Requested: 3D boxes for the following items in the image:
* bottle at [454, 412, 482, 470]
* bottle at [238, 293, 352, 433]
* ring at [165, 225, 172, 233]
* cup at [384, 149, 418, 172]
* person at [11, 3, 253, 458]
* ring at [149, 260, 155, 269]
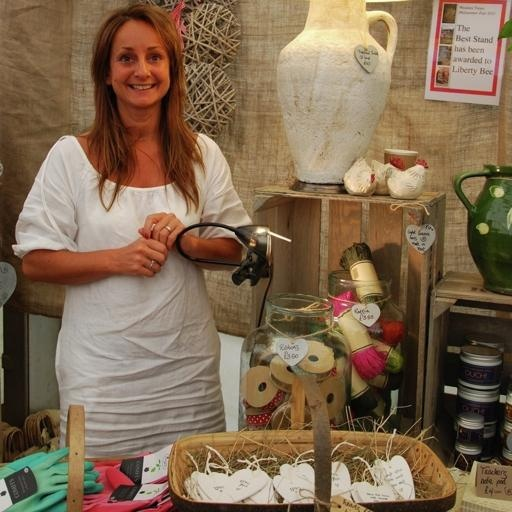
[{"bbox_3d":[0.482,0.418,1.166,0.062,0.123,0.044,-1,5,22],"label":"bottle"},{"bbox_3d":[0.056,0.222,0.996,0.233,0.271,0.205,-1,5,20],"label":"bottle"},{"bbox_3d":[-0.196,-0.062,1.148,0.010,0.011,0.011,10,-10,-4],"label":"ring"},{"bbox_3d":[0.314,-0.211,1.118,0.059,0.045,0.054,2,16,-1],"label":"cup"},{"bbox_3d":[-0.289,-0.053,1.262,0.570,1.091,0.288,-3,5,-6],"label":"person"},{"bbox_3d":[-0.230,0.018,1.145,0.008,0.011,0.011,-2,46,-1],"label":"ring"}]
